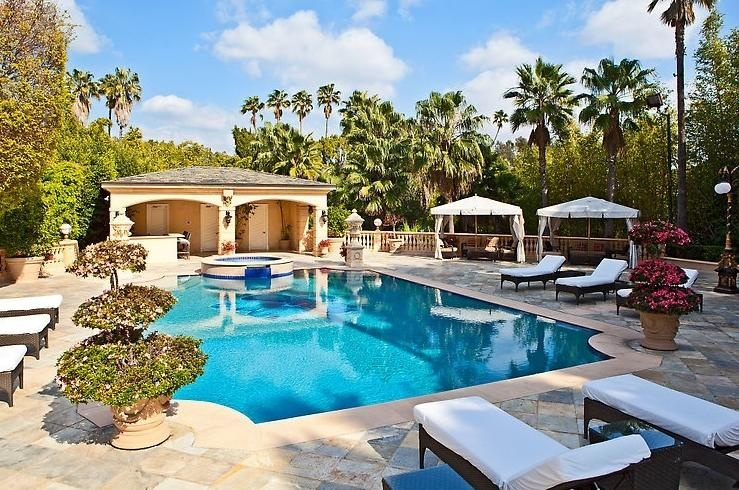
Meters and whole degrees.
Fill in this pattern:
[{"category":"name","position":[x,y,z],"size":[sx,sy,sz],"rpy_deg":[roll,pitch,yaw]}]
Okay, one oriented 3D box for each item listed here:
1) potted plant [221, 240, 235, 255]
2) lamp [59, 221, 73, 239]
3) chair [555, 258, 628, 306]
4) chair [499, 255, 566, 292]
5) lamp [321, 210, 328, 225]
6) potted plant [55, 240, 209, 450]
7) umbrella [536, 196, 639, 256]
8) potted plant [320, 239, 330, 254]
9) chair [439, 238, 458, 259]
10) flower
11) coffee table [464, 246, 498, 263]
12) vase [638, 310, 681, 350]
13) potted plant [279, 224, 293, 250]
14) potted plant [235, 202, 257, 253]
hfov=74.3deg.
[{"category":"potted plant","position":[-6.699,0.125,23.291],"size":[0.583,0.621,0.349],"rpy_deg":[0,0,-37]},{"category":"lamp","position":[-11.948,-0.544,19.272],"size":[0.646,0.737,0.625],"rpy_deg":[3,3,38]},{"category":"chair","position":[6.327,1.021,14.013],"size":[1.938,1.208,0.936],"rpy_deg":[0,0,-27]},{"category":"chair","position":[5.149,0.884,15.826],"size":[1.932,1.036,1.095],"rpy_deg":[-1,1,-13]},{"category":"lamp","position":[-2.346,-1.469,25.236],"size":[0.167,0.683,0.357],"rpy_deg":[0,0,42]},{"category":"potted plant","position":[-3.561,1.433,7.244],"size":[1.824,3.011,1.224],"rpy_deg":[0,0,19]},{"category":"umbrella","position":[8.776,-0.919,19.852],"size":[3.710,2.127,1.556],"rpy_deg":[0,0,23]},{"category":"potted plant","position":[-2.266,0.115,25.054],"size":[0.281,0.851,0.609],"rpy_deg":[0,0,43]},{"category":"chair","position":[3.838,0.192,24.290],"size":[0.867,1.089,1.506],"rpy_deg":[2,2,22]},{"category":"flower","position":[6.074,0.867,10.027],"size":[1.174,0.992,1.206],"rpy_deg":[-8,12,-31]},{"category":"coffee table","position":[5.293,0.462,22.953],"size":[1.449,0.535,0.469],"rpy_deg":[0,0,22]},{"category":"vase","position":[6.004,1.815,10.263],"size":[0.881,0.687,0.846],"rpy_deg":[1,-10,10]},{"category":"potted plant","position":[-4.825,-0.523,28.442],"size":[0.655,1.441,0.618],"rpy_deg":[0,0,-10]},{"category":"potted plant","position":[-7.031,-1.063,27.665],"size":[0.912,2.510,0.437],"rpy_deg":[0,0,-15]}]
